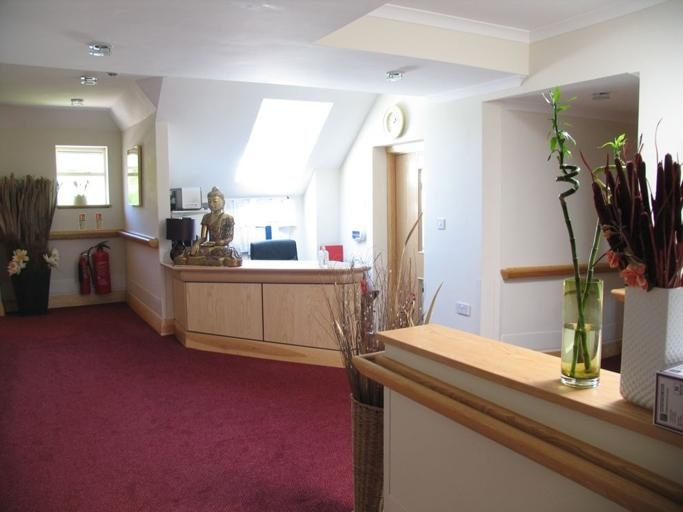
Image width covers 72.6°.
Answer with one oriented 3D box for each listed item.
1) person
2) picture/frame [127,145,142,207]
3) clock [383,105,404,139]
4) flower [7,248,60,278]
[{"bbox_3d":[-1.614,-0.373,5.575,0.746,0.974,0.678,1,3,-8],"label":"person"},{"bbox_3d":[-3.040,-1.203,6.838,0.092,0.984,0.827,1,-7,-27],"label":"picture/frame"},{"bbox_3d":[0.710,-1.817,6.274,0.060,0.508,0.479,0,3,-22],"label":"clock"},{"bbox_3d":[-4.763,0.073,7.223,0.684,0.415,0.356,-23,-12,-42],"label":"flower"}]
